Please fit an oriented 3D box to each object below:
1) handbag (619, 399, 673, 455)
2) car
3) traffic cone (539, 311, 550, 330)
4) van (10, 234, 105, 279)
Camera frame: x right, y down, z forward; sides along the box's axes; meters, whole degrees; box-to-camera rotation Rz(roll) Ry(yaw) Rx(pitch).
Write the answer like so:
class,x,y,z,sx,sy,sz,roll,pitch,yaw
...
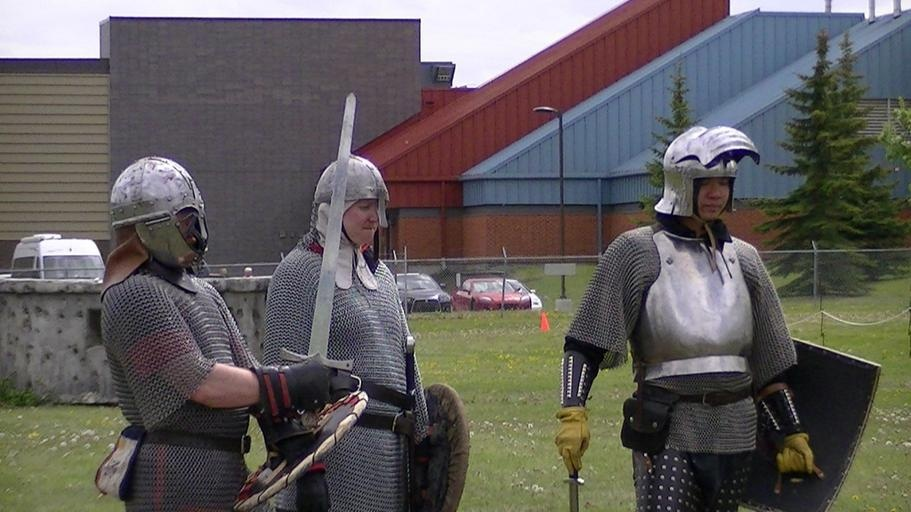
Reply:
class,x,y,z,sx,sy,sz,roll,pitch,yaw
handbag,4.611,4.092,29.041,1.281,1.306,0.691,12,13,30
car,0.172,1.619,47.571,3.770,1.070,2.399,-2,-4,33
traffic cone,3.206,2.422,43.661,0.509,0.726,0.526,-2,2,8
van,-16.317,0.104,48.884,2.289,2.240,5.362,1,-1,-45
